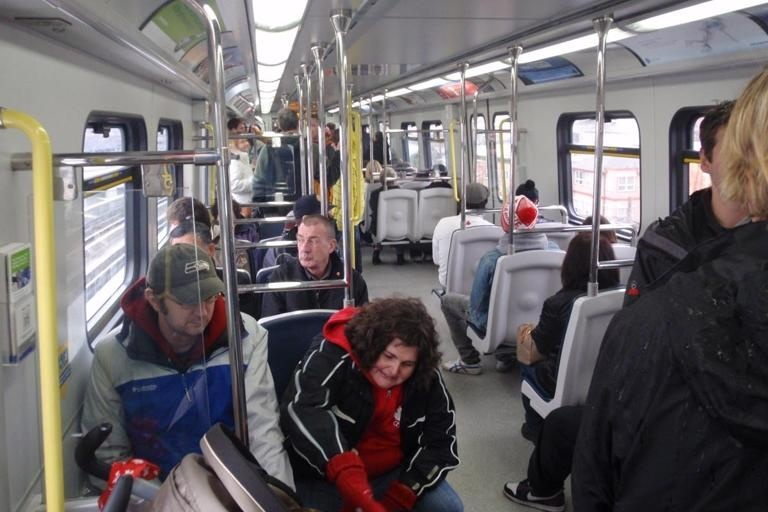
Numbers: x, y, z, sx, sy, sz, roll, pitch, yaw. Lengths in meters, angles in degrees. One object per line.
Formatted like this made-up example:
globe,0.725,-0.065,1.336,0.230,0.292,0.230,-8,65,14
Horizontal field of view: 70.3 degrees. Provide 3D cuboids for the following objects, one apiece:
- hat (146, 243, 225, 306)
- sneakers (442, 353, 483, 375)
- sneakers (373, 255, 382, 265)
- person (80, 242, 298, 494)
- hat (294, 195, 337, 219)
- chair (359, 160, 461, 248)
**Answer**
hat,-0.626,0.050,1.738,0.204,0.123,0.153,12,18,27
sneakers,0.765,1.067,5.343,0.371,0.166,0.142,3,-6,10
sneakers,-0.129,0.075,9.786,0.111,0.164,0.168,-2,-9,12
person,-0.664,0.495,2.045,0.400,1.134,0.807,-1,7,14
hat,-0.613,-0.392,4.680,0.272,0.109,0.243,-23,5,-38
chair,0.415,-1.034,9.504,1.410,1.337,1.051,-2,17,-7
